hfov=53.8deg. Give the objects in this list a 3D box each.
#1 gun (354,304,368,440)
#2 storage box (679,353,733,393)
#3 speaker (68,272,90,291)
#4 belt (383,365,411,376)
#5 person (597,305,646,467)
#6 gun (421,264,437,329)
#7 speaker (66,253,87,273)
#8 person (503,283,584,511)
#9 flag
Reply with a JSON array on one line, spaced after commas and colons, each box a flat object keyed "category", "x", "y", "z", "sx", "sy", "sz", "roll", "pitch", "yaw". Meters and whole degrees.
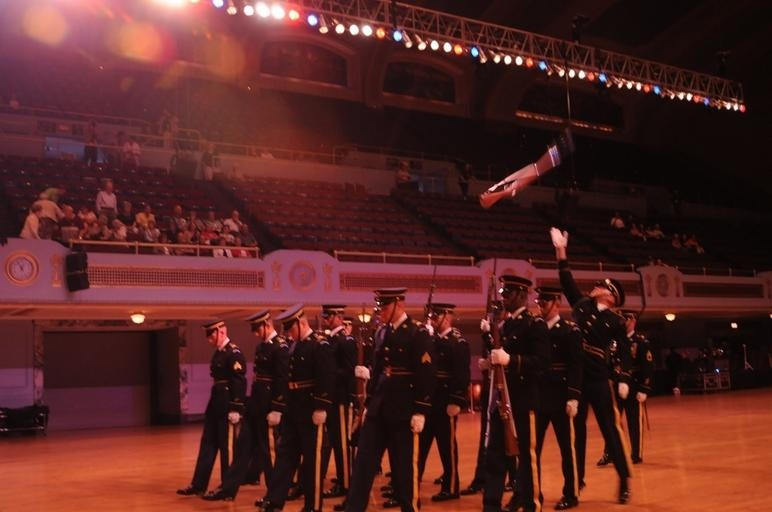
[{"category": "gun", "x": -0.492, "y": 2.243, "z": 14.482, "sx": 0.106, "sy": 2.590, "sz": 0.451, "roll": -1, "pitch": -8, "yaw": 29}, {"category": "storage box", "x": 12.680, "y": 4.653, "z": 30.134, "sx": 1.402, "sy": 1.527, "sz": 2.863, "roll": -6, "pitch": -10, "yaw": 35}, {"category": "speaker", "x": -7.797, "y": 0.636, "z": 19.201, "sx": 0.413, "sy": 0.426, "sz": 0.244, "roll": 2, "pitch": 4, "yaw": 28}, {"category": "belt", "x": 0.176, "y": 1.851, "z": 12.214, "sx": 0.396, "sy": 0.147, "sz": 0.074, "roll": 0, "pitch": -8, "yaw": -6}, {"category": "person", "x": 5.091, "y": 2.776, "z": 15.924, "sx": 1.263, "sy": 3.643, "sz": 1.092, "roll": -4, "pitch": 2, "yaw": -21}, {"category": "gun", "x": 0.830, "y": 0.715, "z": 14.190, "sx": 0.023, "sy": 0.504, "sz": 0.107, "roll": 1, "pitch": 17, "yaw": -36}, {"category": "speaker", "x": -7.800, "y": 0.169, "z": 19.176, "sx": 0.481, "sy": 0.471, "sz": 0.260, "roll": 0, "pitch": 0, "yaw": 33}, {"category": "person", "x": 2.762, "y": 2.278, "z": 13.197, "sx": 1.312, "sy": 3.812, "sz": 1.178, "roll": -1, "pitch": 0, "yaw": -12}, {"category": "flag", "x": 1.877, "y": 2.489, "z": 12.531, "sx": 0.441, "sy": 1.929, "sz": 0.319, "roll": -7, "pitch": -8, "yaw": -4}]
